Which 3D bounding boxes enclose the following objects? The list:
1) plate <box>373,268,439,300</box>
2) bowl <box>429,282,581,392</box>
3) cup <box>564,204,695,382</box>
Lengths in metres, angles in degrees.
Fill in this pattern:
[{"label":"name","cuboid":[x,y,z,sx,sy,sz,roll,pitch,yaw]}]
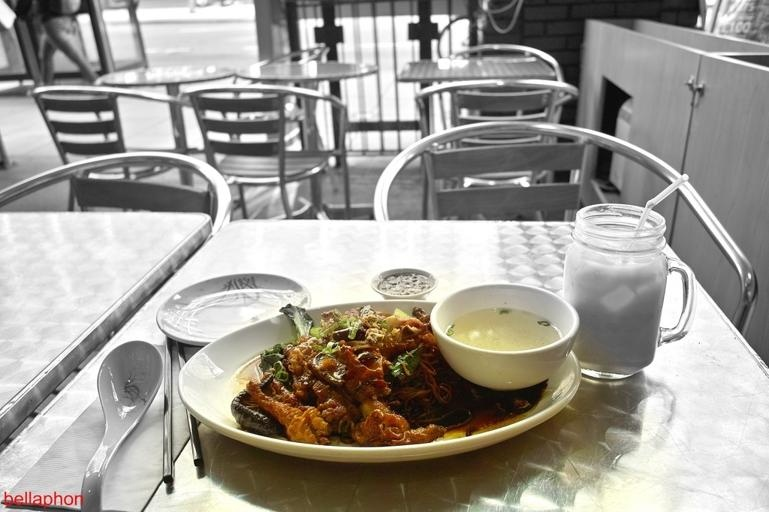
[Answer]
[{"label":"plate","cuboid":[0.033,0.046,0.847,0.097,0.044,0.136,8,12,34]},{"label":"bowl","cuboid":[0.158,0.110,0.651,0.209,0.062,0.199,-2,23,1]},{"label":"cup","cuboid":[0.340,0.055,0.742,0.138,0.262,0.166,3,12,9]}]
